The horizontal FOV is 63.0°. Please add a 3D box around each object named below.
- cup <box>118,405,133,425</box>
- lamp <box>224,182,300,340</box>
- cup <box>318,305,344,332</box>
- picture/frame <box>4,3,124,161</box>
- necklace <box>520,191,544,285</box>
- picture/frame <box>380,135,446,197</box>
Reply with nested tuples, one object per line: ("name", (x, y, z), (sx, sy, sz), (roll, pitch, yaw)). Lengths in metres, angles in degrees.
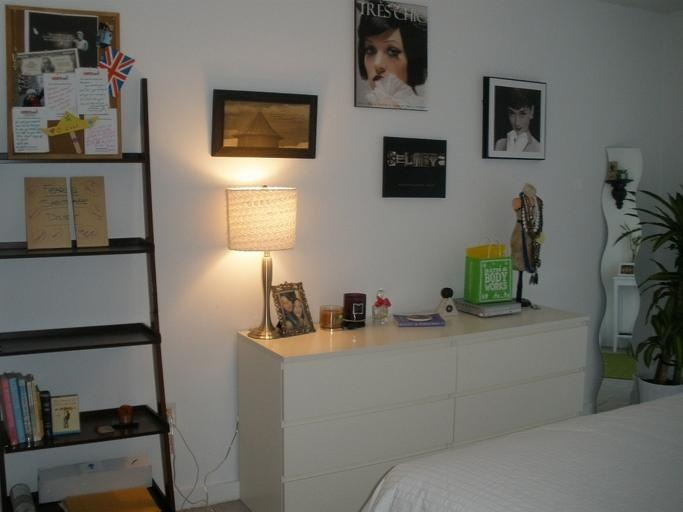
("cup", (-1.007, 0.742, 2.628), (0.070, 0.077, 0.073), (2, 11, 0))
("lamp", (-0.402, 0.016, 2.888), (0.357, 0.751, 0.340), (-2, 13, -8))
("cup", (-0.054, 0.327, 3.020), (0.116, 0.112, 0.116), (2, 6, 0))
("picture/frame", (-1.263, -0.756, 2.497), (0.636, 0.955, 0.041), (-2, -5, -17))
("necklace", (1.187, -0.153, 3.491), (0.173, 0.536, 0.100), (-7, 14, -26))
("picture/frame", (0.418, -0.548, 3.363), (0.342, 0.326, 0.039), (1, 3, -21))
